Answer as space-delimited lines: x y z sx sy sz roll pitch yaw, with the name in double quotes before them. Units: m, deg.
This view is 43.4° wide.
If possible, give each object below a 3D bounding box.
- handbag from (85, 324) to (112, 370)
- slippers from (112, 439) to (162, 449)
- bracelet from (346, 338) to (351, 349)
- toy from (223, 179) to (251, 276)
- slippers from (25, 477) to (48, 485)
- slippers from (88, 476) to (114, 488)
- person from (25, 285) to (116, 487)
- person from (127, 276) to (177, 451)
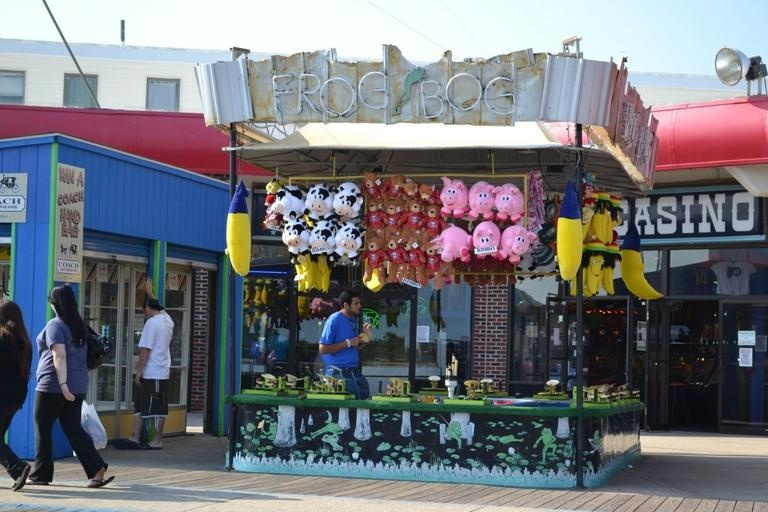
"handbag" -3.786 1.246 12.598 0.285 0.544 0.516 1 4 4
"slippers" -3.806 2.964 14.870 0.673 0.189 0.268 8 -12 -11
"bracelet" -0.527 1.319 14.311 0.078 0.121 0.146 -1 -7 -3
"toy" -2.050 -0.396 13.537 0.306 1.319 0.350 0 -7 -12
"slippers" -4.387 2.896 12.196 0.265 0.087 0.108 4 -4 9
"slippers" -3.585 2.909 12.254 0.323 0.090 0.127 -2 1 -8
"person" -4.027 1.689 12.256 0.926 2.578 0.589 0 -7 -16
"person" -3.623 1.707 15.047 0.611 2.643 0.317 0 -7 -17
